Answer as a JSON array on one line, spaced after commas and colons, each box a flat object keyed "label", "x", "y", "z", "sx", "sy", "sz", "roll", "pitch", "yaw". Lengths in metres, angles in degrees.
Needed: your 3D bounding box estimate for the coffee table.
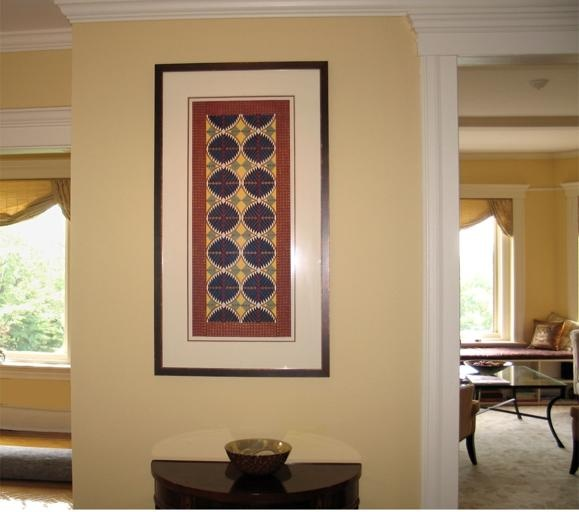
[{"label": "coffee table", "x": 1.680, "y": 1.059, "z": 4.320, "sx": 0.761, "sy": 0.496, "sz": 0.534, "roll": 0, "pitch": 7, "yaw": 14}]
